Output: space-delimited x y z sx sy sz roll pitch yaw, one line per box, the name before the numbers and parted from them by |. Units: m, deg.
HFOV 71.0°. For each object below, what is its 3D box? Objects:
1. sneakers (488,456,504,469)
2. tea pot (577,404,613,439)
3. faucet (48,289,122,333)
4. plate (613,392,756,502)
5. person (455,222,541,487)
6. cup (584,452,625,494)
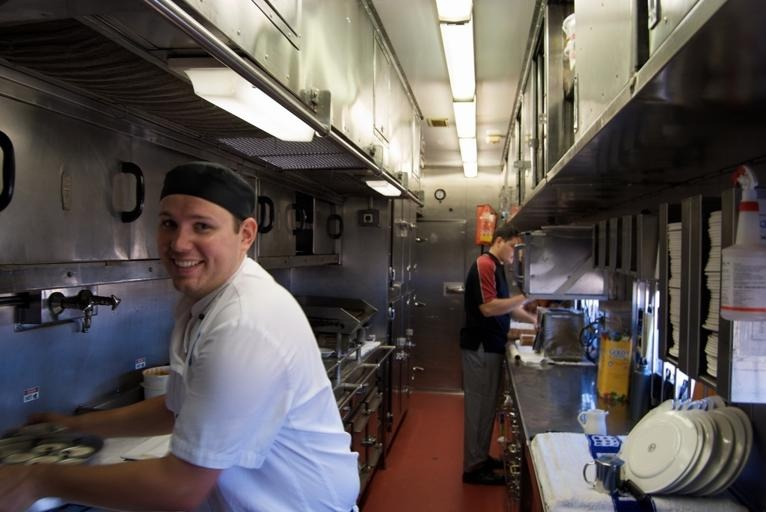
sneakers | 0.880 1.630 4.231 0.100 0.124 0.137 1 -19 1
tea pot | 0.958 0.757 2.464 0.144 0.142 0.110 -2 1 8
faucet | -1.255 0.239 2.276 0.230 0.155 0.131 4 -4 11
plate | 1.109 0.712 1.986 0.426 0.309 0.252 1 -2 25
person | 0.831 0.742 4.208 0.436 1.998 0.769 1 -1 10
cup | 0.811 0.828 2.049 0.158 0.145 0.094 1 0 1
